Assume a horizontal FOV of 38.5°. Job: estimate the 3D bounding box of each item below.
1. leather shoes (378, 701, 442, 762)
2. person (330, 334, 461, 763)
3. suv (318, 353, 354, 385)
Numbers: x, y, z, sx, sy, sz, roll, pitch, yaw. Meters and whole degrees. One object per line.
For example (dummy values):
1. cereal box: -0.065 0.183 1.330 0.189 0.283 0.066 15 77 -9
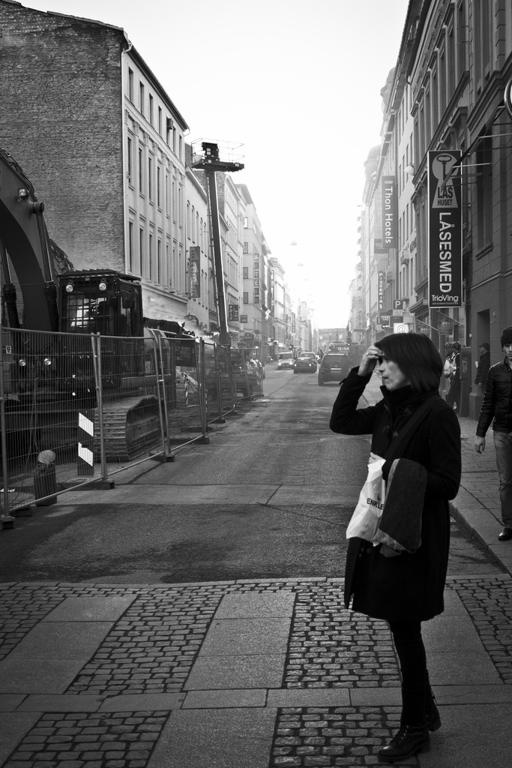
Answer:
1. leather shoes: 0.519 1.190 2.536 0.278 0.160 0.093 2 -5 -45
2. person: 0.504 0.539 2.627 0.461 1.363 0.575 -1 0 5
3. suv: 4.092 -0.603 38.527 1.521 1.830 2.982 0 10 5
